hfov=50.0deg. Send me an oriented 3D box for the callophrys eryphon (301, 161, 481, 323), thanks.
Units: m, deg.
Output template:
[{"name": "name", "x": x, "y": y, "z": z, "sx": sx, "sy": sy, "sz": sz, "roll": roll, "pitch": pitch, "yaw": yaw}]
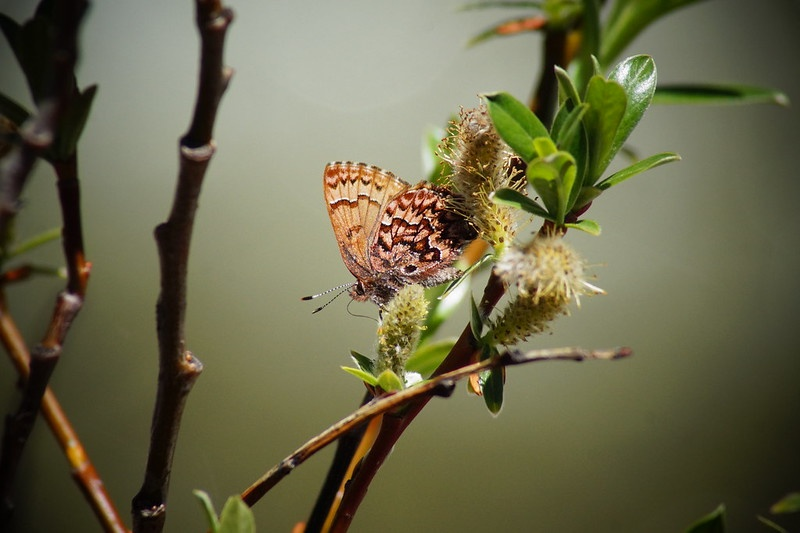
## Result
[{"name": "callophrys eryphon", "x": -0.008, "y": -0.043, "z": 1.261, "sx": 0.197, "sy": 0.172, "sz": 0.214, "roll": -23, "pitch": -16, "yaw": -1}]
